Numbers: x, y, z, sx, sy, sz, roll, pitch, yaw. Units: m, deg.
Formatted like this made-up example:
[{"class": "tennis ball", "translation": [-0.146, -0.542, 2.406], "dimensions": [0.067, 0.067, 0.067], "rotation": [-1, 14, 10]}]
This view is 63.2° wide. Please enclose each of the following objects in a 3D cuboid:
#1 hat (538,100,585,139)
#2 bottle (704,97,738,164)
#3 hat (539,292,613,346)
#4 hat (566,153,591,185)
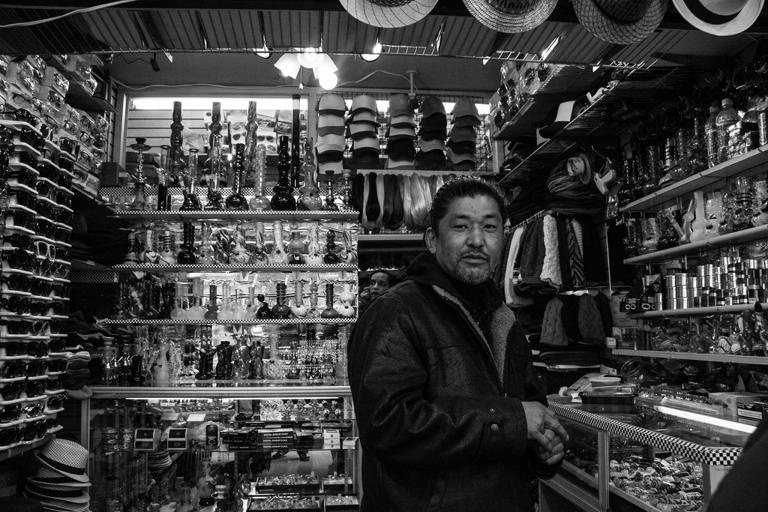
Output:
[{"class": "hat", "translation": [1.420, -1.128, 5.197], "dimensions": [0.243, 0.302, 0.500], "rotation": [1, -9, -12]}, {"class": "bottle", "translation": [2.156, -0.800, 3.969], "dimensions": [0.108, 0.416, 0.236], "rotation": [2, -9, -15]}, {"class": "hat", "translation": [1.557, 0.524, 5.073], "dimensions": [0.483, 0.474, 0.202], "rotation": [5, 2, 28]}, {"class": "hat", "translation": [1.614, -0.734, 5.171], "dimensions": [0.211, 0.190, 0.244], "rotation": [22, 10, 28]}]
